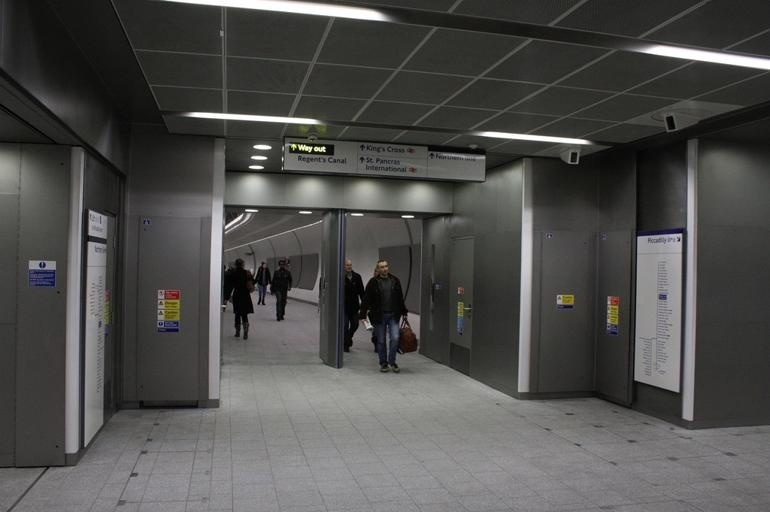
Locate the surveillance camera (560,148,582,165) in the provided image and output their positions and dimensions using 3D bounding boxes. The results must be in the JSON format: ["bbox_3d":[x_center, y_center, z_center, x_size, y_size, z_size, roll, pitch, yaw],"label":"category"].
[{"bbox_3d":[3.131,-1.666,8.706,0.259,0.276,0.370,1,2,-11],"label":"surveillance camera"}]

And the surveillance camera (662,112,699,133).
[{"bbox_3d":[4.050,-1.857,7.145,0.452,0.251,0.222,-5,19,1],"label":"surveillance camera"}]

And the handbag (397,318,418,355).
[{"bbox_3d":[0.459,1.855,12.050,0.505,0.917,0.927,4,-3,-9],"label":"handbag"}]

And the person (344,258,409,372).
[{"bbox_3d":[-0.028,1.284,11.194,0.936,2.340,0.507,2,2,3],"label":"person"}]

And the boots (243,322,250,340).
[{"bbox_3d":[-3.922,2.129,14.596,0.163,0.499,0.335,0,3,1],"label":"boots"}]
